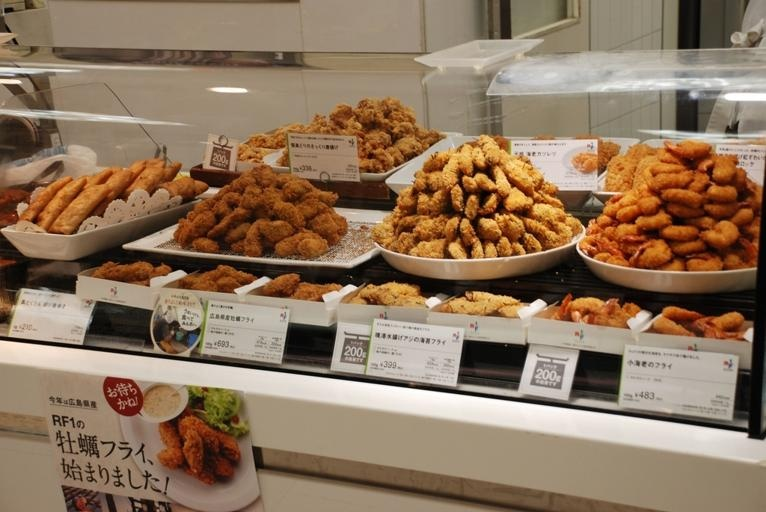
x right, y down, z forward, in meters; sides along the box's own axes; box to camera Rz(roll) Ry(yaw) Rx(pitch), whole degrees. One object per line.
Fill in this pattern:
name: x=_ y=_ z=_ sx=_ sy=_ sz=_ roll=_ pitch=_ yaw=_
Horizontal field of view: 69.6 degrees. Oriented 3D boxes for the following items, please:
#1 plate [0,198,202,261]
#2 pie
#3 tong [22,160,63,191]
plate: x=-0.860 y=-0.127 z=1.699 sx=0.236 sy=0.056 sz=0.364 roll=9 pitch=18 yaw=40
pie: x=-0.844 y=-0.203 z=1.718 sx=0.394 sy=0.085 sz=0.282 roll=-24 pitch=28 yaw=-36
tong: x=-1.146 y=-0.268 z=1.860 sx=0.192 sy=0.038 sz=0.026 roll=-33 pitch=-11 yaw=3
